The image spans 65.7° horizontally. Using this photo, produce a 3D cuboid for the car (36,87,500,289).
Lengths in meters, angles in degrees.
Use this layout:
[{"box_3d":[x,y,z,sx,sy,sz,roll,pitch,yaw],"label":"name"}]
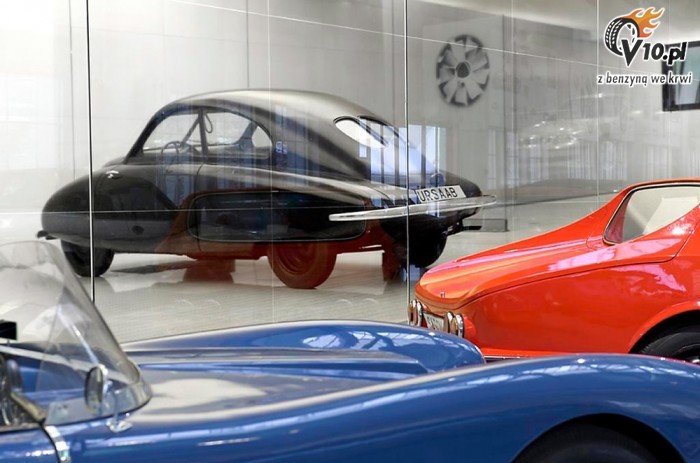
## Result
[{"box_3d":[-0.808,-0.379,4.863,2.693,1.154,1.745,2,3,17],"label":"car"}]
